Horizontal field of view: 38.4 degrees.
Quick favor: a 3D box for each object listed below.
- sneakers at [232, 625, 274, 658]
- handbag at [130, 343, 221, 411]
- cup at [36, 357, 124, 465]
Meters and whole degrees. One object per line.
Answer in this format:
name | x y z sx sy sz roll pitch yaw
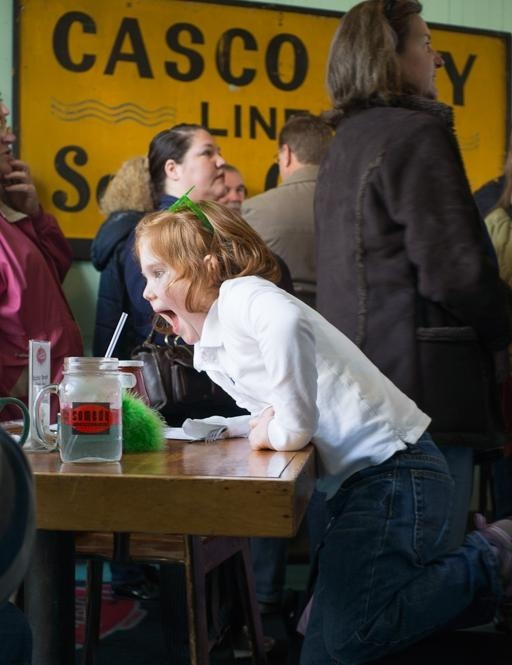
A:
sneakers | -0.004 0.705 1.678 0.117 0.039 0.112 1 1 0
handbag | -0.170 0.094 1.548 0.082 0.137 0.153 -21 -9 33
cup | -0.189 0.092 0.855 0.132 0.138 0.085 0 -4 -10
